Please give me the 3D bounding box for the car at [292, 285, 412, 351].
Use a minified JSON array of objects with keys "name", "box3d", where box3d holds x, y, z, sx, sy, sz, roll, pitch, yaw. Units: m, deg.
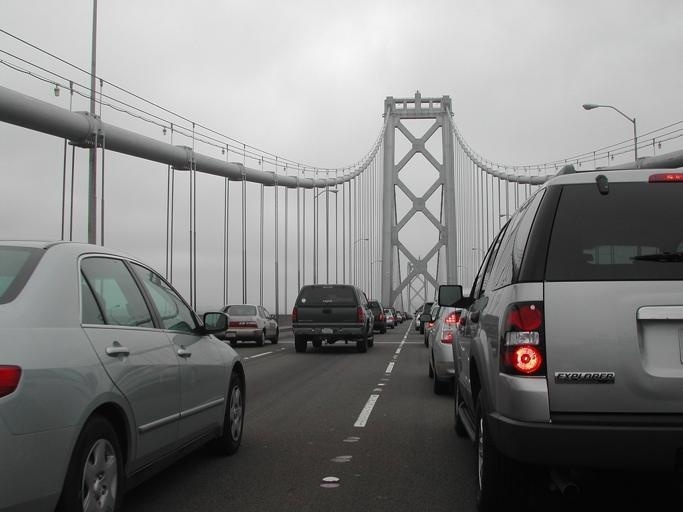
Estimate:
[{"name":"car","box3d":[-0.369,2.357,20.795,2.880,2.566,2.578,0,-5,-3]}]
